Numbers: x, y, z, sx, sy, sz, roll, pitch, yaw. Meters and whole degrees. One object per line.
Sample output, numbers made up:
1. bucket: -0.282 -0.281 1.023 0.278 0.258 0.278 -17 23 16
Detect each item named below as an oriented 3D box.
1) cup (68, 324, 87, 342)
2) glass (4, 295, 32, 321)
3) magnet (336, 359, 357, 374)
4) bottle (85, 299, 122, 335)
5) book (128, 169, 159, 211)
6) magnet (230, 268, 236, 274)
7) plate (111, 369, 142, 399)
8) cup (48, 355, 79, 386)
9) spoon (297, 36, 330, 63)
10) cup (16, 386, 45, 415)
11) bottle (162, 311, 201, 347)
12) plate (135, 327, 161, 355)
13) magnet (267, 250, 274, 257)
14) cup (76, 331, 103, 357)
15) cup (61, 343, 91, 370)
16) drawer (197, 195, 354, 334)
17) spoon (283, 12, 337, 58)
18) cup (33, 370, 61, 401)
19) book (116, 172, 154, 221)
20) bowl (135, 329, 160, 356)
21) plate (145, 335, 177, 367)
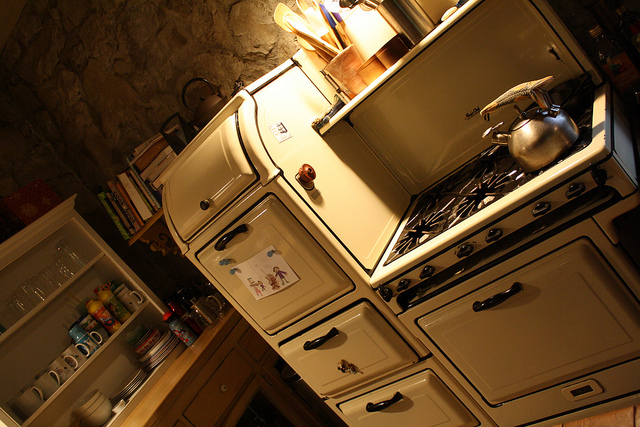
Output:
1. cup: -1.520 0.747 2.990 0.088 0.084 0.089 -39 -1 -1
2. glass: -1.874 0.587 2.950 0.082 0.154 0.079 -38 20 5
3. magnet: 0.140 0.780 2.445 0.087 0.061 0.063 3 -48 -37
4. bottle: -1.396 0.668 3.096 0.084 0.241 0.136 -40 -17 13
5. book: -1.122 -0.151 3.199 0.056 0.279 0.196 -35 -11 -15
6. magnet: -0.431 0.285 2.365 0.026 0.024 0.026 -25 -52 -73
7. plate: -1.254 1.104 3.096 0.161 0.040 0.159 -39 8 2
8. cup: -1.545 0.932 2.918 0.126 0.125 0.166 -51 21 -9
9. spoon: -0.043 -0.839 2.407 0.064 0.030 0.196 -41 44 -7
10. cup: -1.681 1.085 2.837 0.154 0.113 0.117 -41 6 -27
11. bottle: -0.912 0.737 3.105 0.101 0.263 0.101 -29 17 10
12. plate: -1.123 0.853 3.175 0.147 0.062 0.148 -38 4 34
13. magnet: -0.239 0.189 2.281 0.008 0.020 0.033 -50 -34 -77
14. cup: -1.436 0.806 3.005 0.094 0.132 0.153 -14 33 48
15. cup: -1.494 0.871 2.985 0.147 0.133 0.143 -46 8 9
16. drawer: -0.263 0.194 2.561 0.570 0.791 0.533 -33 24 14
17. spoon: -0.008 -0.885 2.342 0.056 0.430 0.122 -46 -25 -11
18. cup: -1.608 1.006 2.857 0.117 0.118 0.159 -14 32 53
19. book: -1.209 -0.114 3.147 0.079 0.393 0.066 -41 -7 23
20. bowl: -1.134 0.862 3.181 0.138 0.056 0.137 -49 7 8
21. plate: -1.046 0.909 3.125 0.143 0.036 0.152 -42 12 18
